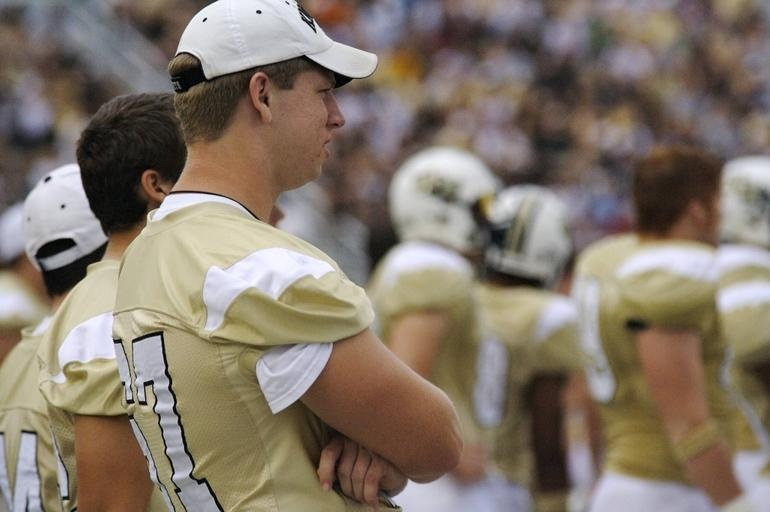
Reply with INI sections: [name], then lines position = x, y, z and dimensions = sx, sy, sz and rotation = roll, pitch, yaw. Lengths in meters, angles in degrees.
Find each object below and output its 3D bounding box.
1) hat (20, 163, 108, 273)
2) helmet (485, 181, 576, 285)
[hat]
position = -1.693, -0.204, 7.597
dimensions = 0.377, 0.334, 0.571
rotation = -12, 28, 24
[helmet]
position = 0.729, -0.123, 8.152
dimensions = 0.540, 0.602, 0.404
rotation = 12, -5, -7
